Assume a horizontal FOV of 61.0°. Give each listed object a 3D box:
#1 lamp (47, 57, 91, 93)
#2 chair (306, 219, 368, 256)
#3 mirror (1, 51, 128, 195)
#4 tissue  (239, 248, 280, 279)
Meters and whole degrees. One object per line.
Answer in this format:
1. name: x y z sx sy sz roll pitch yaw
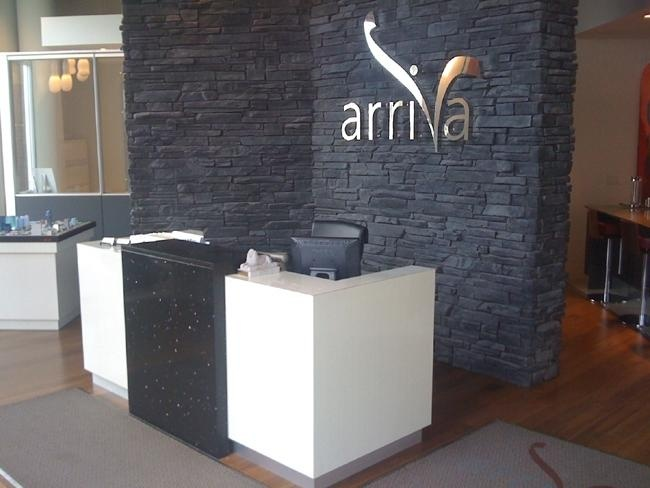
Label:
1. lamp: -3.112 -2.084 6.694 0.413 0.334 0.153 -8 14 -28
2. chair: 0.187 -0.024 4.486 0.429 0.350 0.583 -4 6 -43
3. mirror: -3.153 -1.556 6.743 2.084 1.981 0.092 -1 6 -2
4. tissue : -0.432 0.122 3.672 0.213 0.114 0.205 3 6 26
